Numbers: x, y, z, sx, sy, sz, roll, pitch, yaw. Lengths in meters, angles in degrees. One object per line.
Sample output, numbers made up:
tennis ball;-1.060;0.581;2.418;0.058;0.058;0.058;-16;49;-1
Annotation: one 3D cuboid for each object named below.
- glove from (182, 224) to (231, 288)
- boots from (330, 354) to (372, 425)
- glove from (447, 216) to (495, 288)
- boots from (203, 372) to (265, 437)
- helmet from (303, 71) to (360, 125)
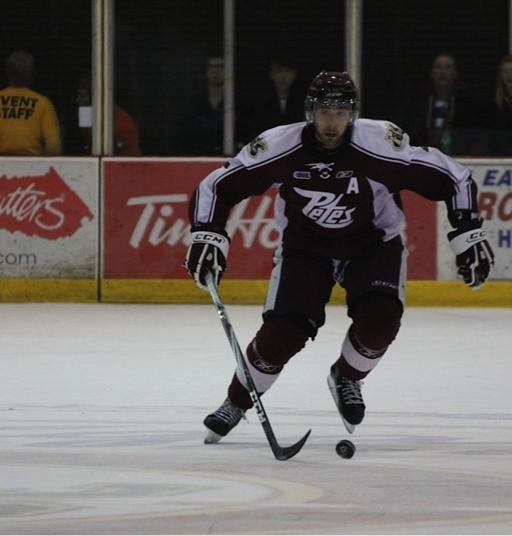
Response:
glove;-0.152;-0.052;3.679;0.195;0.096;0.241;-23;30;7
boots;0.277;0.409;3.750;0.086;0.243;0.097;-7;-32;-31
glove;0.658;-0.060;3.725;0.182;0.221;0.151;-14;26;-33
boots;-0.072;0.466;3.668;0.085;0.116;0.270;31;9;6
helmet;0.238;-0.541;3.604;0.171;0.161;0.189;8;26;10
